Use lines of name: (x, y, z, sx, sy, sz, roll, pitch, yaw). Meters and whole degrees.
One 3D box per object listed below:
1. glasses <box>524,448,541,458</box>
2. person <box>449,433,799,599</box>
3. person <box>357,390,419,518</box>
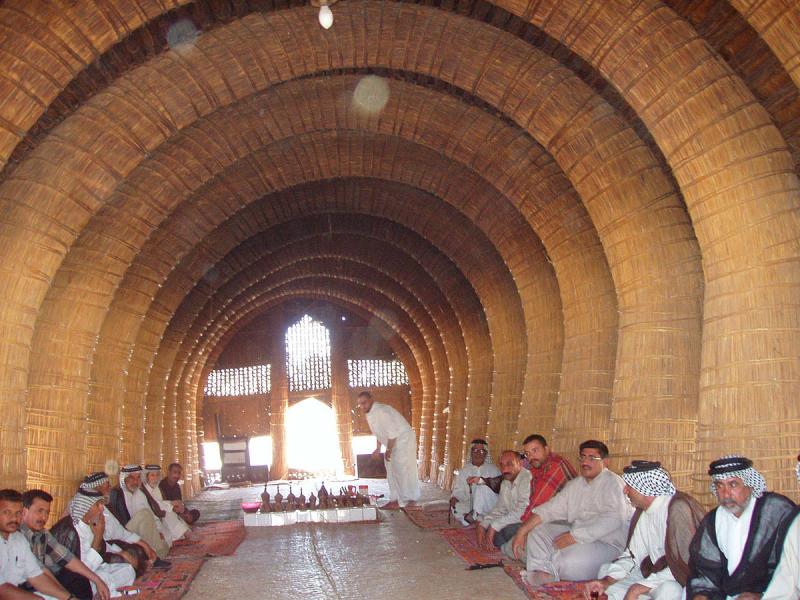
glasses: (1.372, 1.580, 5.712, 0.127, 0.097, 0.123, 2, -40, 15)
person: (1.684, 1.554, 3.926, 1.765, 0.867, 0.823, -1, -20, 40)
person: (-0.123, 2.635, 9.538, 0.958, 1.731, 0.554, 4, -15, -22)
